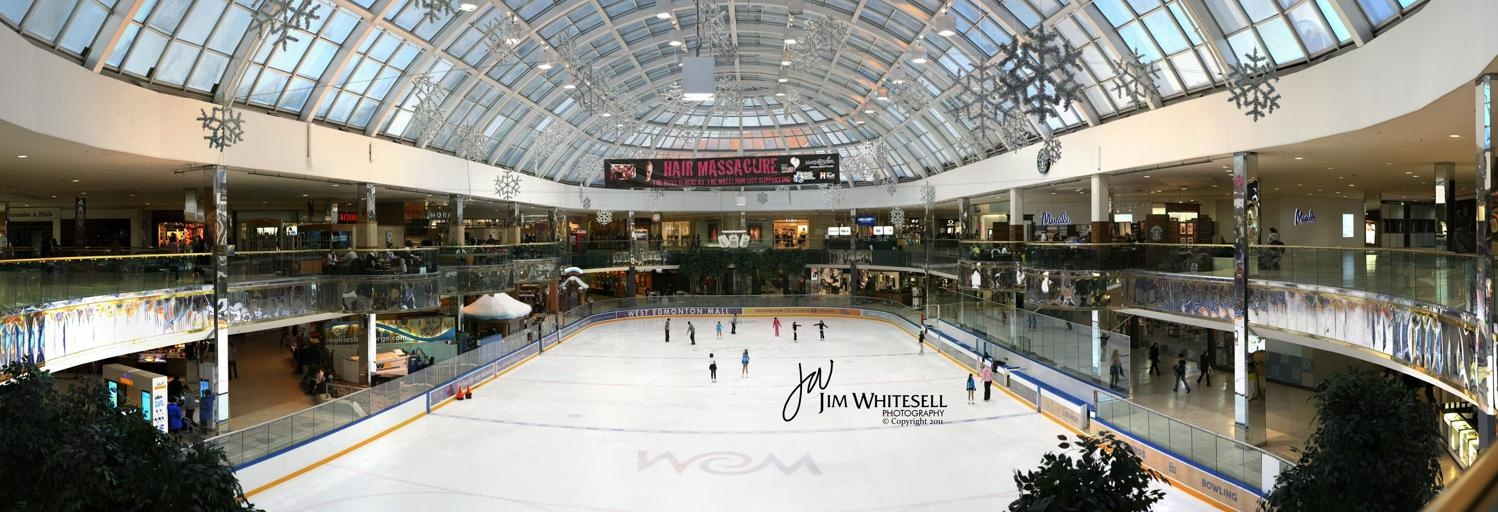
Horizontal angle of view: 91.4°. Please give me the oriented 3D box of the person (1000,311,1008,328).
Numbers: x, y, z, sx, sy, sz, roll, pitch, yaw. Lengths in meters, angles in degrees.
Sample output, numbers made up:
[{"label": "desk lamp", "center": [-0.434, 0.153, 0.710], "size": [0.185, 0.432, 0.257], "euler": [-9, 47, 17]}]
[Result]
[{"label": "person", "center": [24.761, 5.952, 70.329], "size": [0.753, 1.373, 0.447], "euler": [-1, 4, 31]}]

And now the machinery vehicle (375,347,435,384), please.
[{"label": "machinery vehicle", "center": [-32.489, 10.765, 68.756], "size": [5.132, 1.251, 3.322], "euler": [-3, 15, -27]}]

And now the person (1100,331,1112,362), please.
[{"label": "person", "center": [32.399, 8.198, 66.117], "size": [0.853, 2.764, 1.209], "euler": [-2, 4, 21]}]

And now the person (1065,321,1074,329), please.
[{"label": "person", "center": [28.689, 6.222, 65.192], "size": [0.871, 0.549, 0.382], "euler": [-5, -12, 20]}]

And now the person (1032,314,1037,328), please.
[{"label": "person", "center": [26.571, 6.050, 67.619], "size": [0.596, 1.136, 1.248], "euler": [-2, 3, 13]}]
